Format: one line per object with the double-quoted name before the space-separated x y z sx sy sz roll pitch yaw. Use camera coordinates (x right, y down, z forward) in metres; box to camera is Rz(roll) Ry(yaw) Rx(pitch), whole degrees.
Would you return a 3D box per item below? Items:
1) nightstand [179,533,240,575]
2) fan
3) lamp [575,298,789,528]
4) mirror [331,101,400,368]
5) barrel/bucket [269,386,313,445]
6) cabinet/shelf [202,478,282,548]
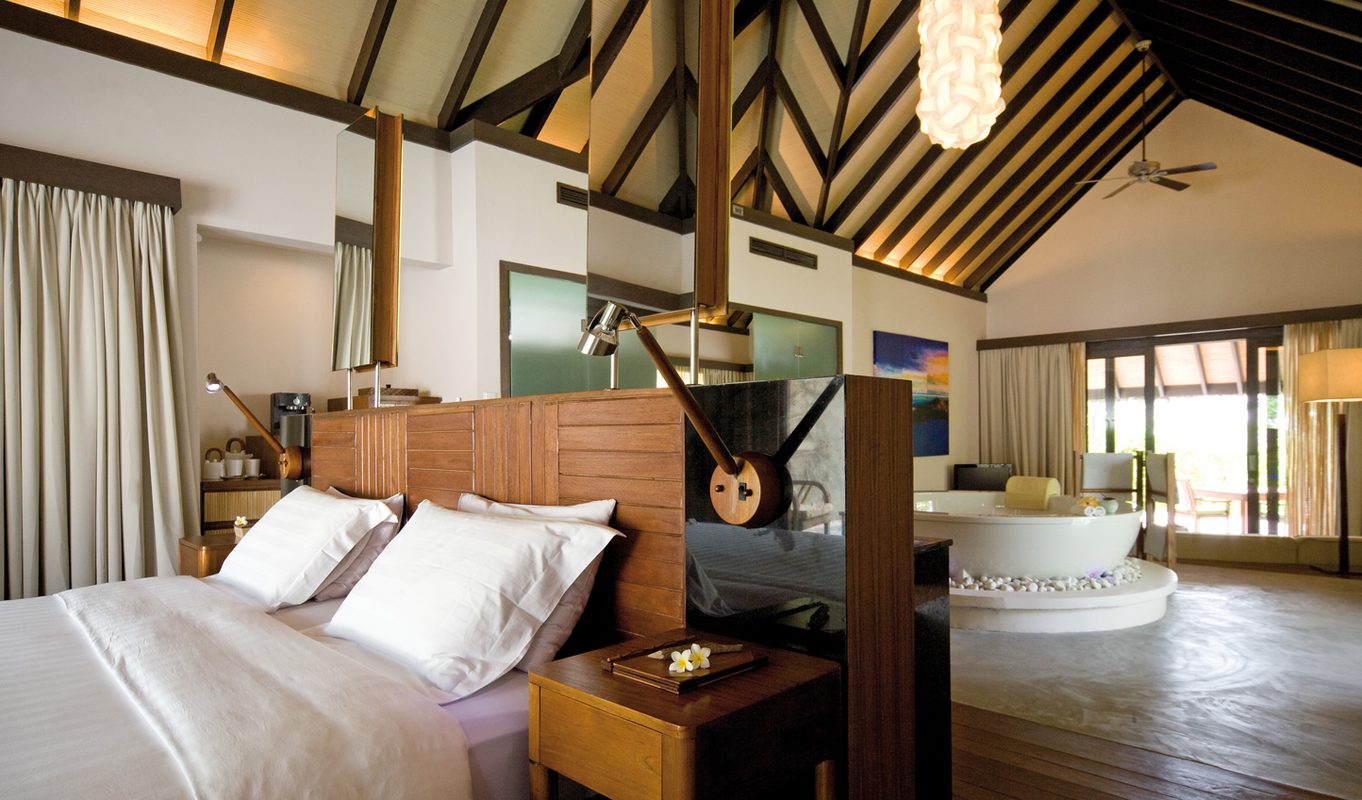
"nightstand" -3.241 1.015 5.664 0.370 0.346 0.366 -4 -7 38
"fan" 5.042 -3.172 9.054 1.284 1.411 1.108 -3 4 -28
"lamp" 0.034 0.056 3.871 0.911 1.029 0.250 2 13 7
"mirror" -1.974 -1.051 5.402 0.424 1.665 0.499 3 13 10
"barrel/bucket" -3.177 0.140 6.823 0.327 0.491 0.499 0 -2 -27
"cabinet/shelf" -3.660 0.832 6.793 0.307 0.514 0.567 29 17 38
